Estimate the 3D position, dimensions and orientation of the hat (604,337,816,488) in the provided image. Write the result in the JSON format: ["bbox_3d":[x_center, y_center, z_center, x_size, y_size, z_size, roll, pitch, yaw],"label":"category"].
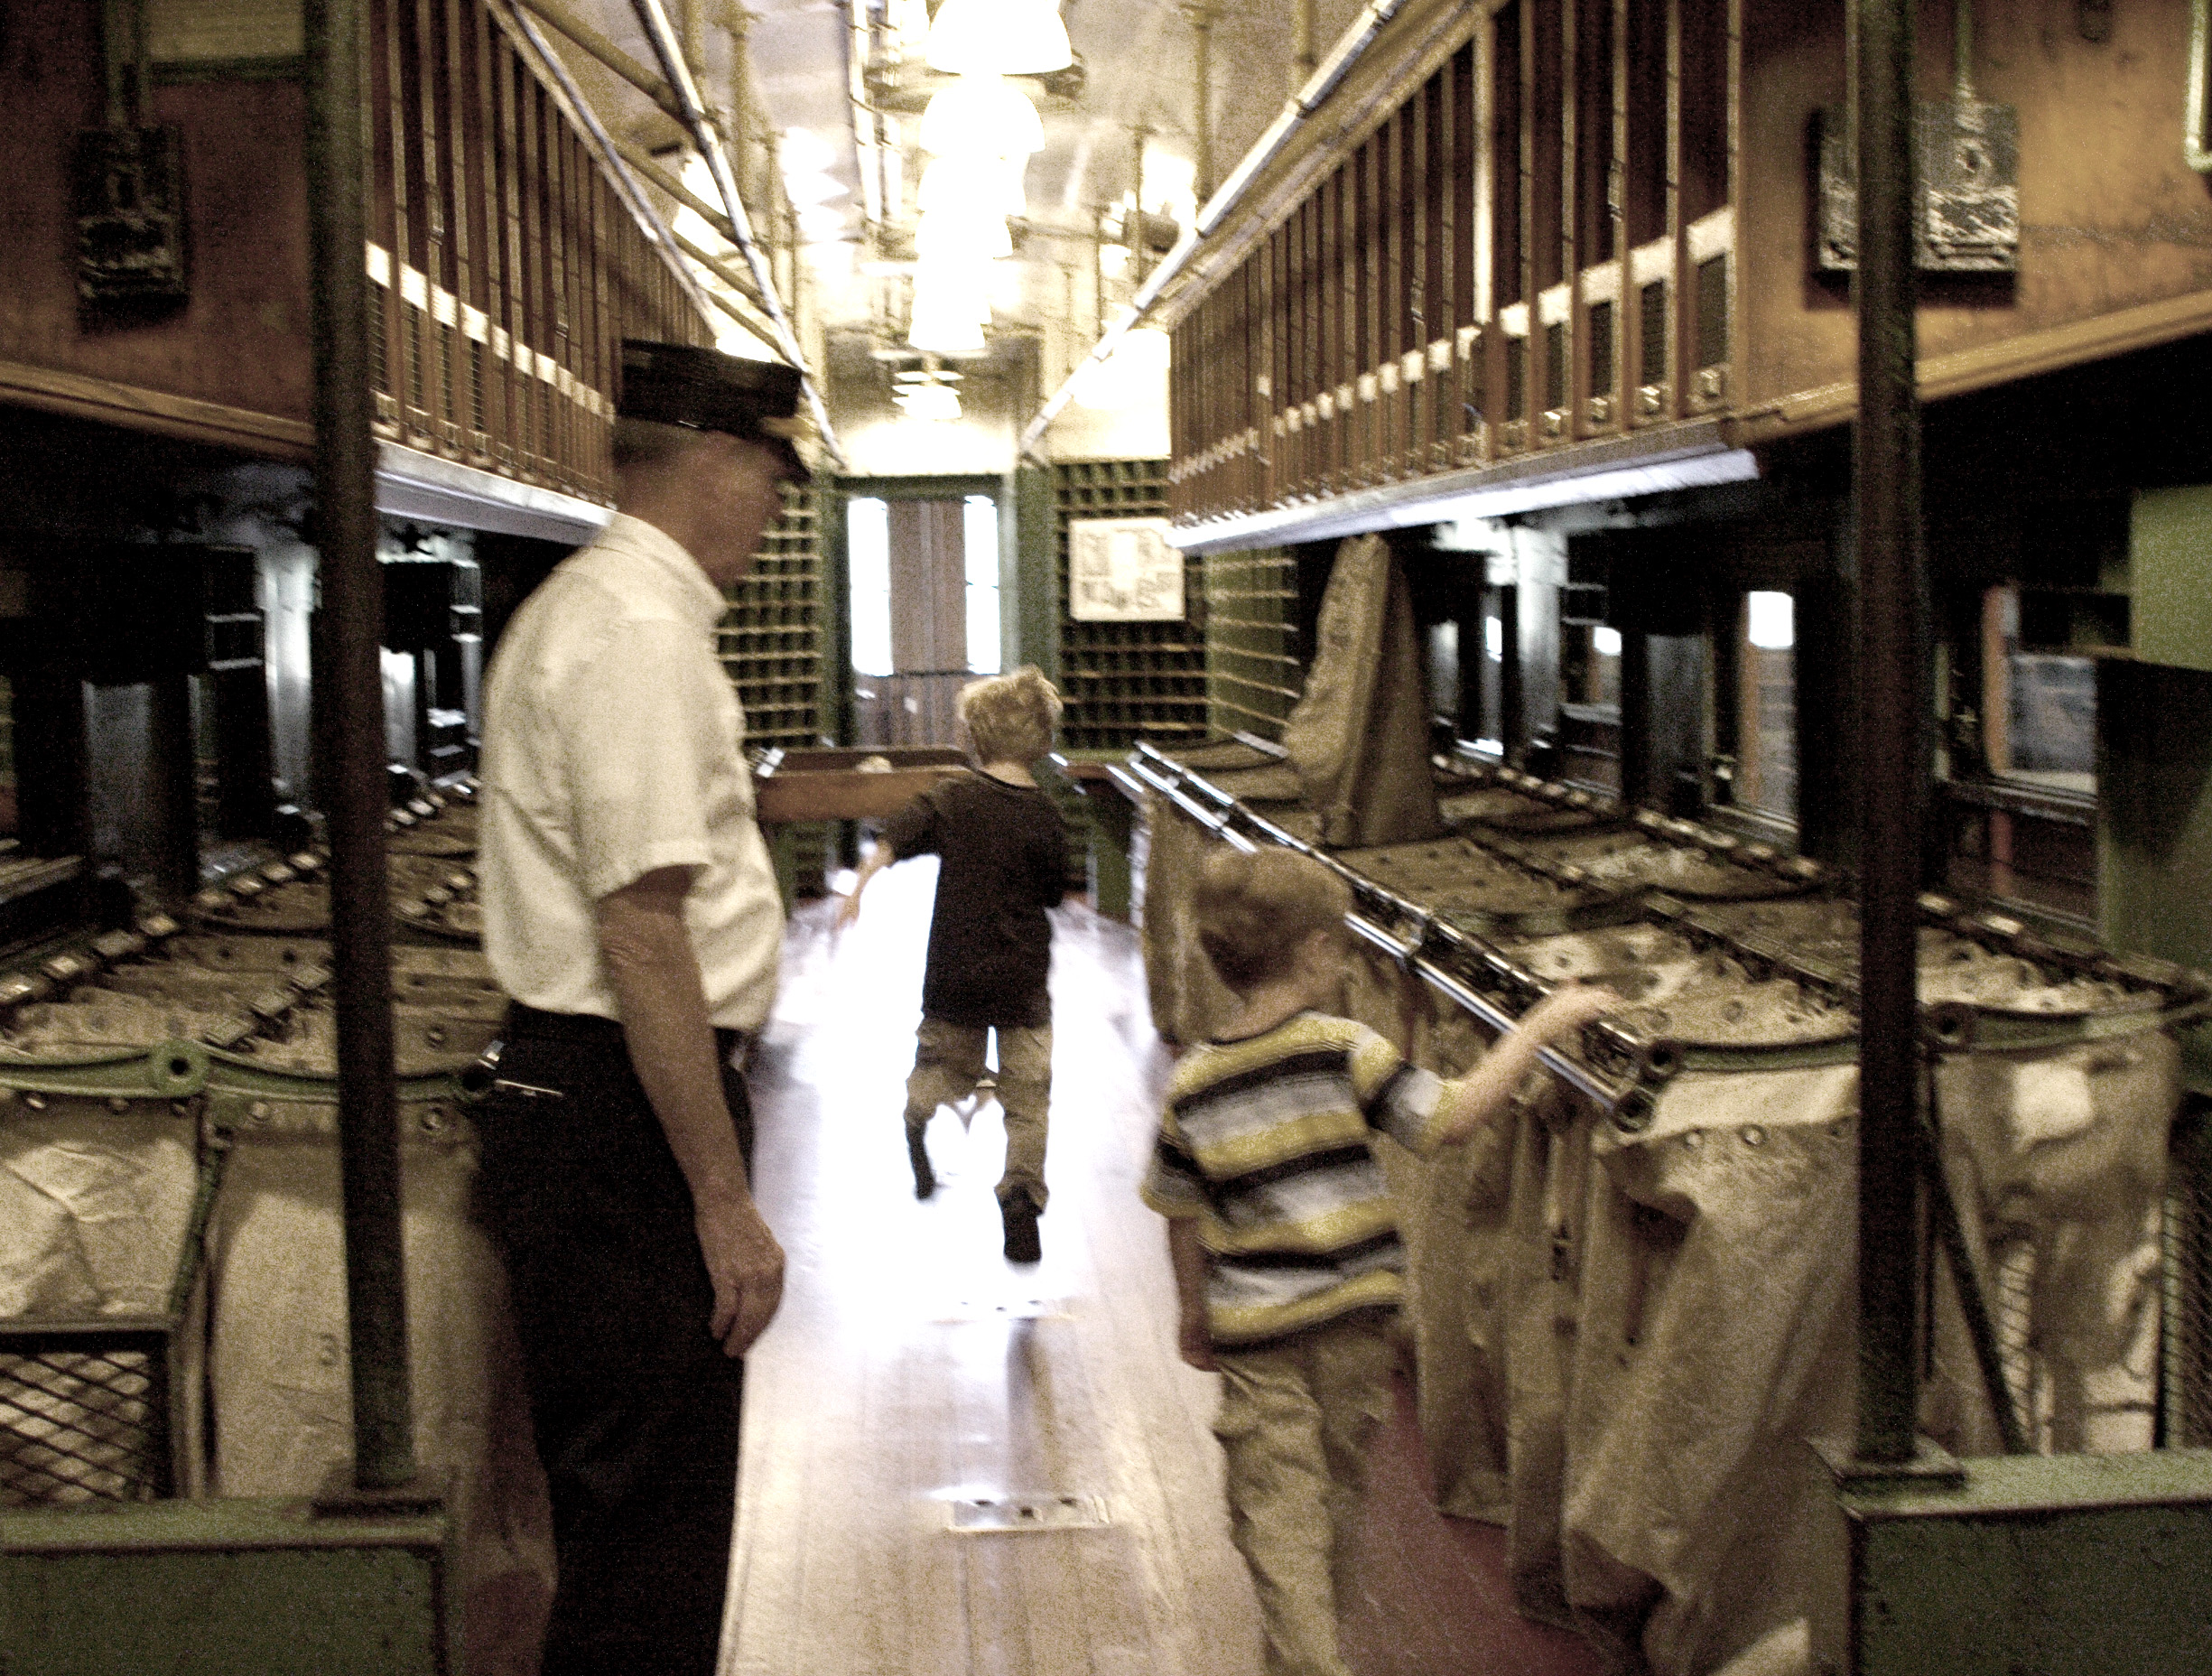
[{"bbox_3d":[-0.595,-0.649,2.782,0.273,0.153,0.217,-1,7,-9],"label":"hat"}]

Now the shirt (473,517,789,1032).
[{"bbox_3d":[-0.714,-0.097,2.811,0.435,0.781,0.819,-1,13,-24],"label":"shirt"}]
